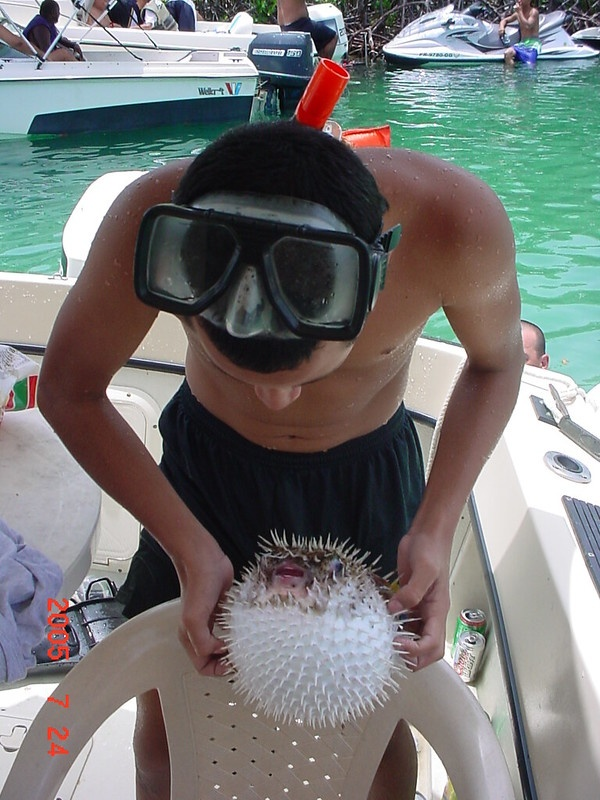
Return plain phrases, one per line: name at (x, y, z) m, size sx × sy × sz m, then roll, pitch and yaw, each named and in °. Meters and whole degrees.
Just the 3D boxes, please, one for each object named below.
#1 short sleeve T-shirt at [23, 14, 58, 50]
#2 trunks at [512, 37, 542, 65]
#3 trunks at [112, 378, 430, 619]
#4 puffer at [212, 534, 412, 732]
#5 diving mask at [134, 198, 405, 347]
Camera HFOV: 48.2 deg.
short sleeve T-shirt at (-2.842, -3.964, 7.259) m, size 0.351 × 0.365 × 0.401 m, roll -13°, pitch 36°, yaw -16°
trunks at (3.960, -5.995, 11.593) m, size 0.418 × 0.293 × 0.551 m, roll 1°, pitch 59°, yaw 12°
trunks at (-0.046, 0.197, 1.167) m, size 0.553 × 0.498 × 0.223 m, roll 2°, pitch 35°, yaw -12°
puffer at (0.006, 0.262, 0.803) m, size 0.240 × 0.268 × 0.185 m, roll 18°, pitch 63°, yaw 14°
diving mask at (0.001, -0.155, 0.721) m, size 0.255 × 0.110 × 0.291 m, roll 10°, pitch 22°, yaw 15°
